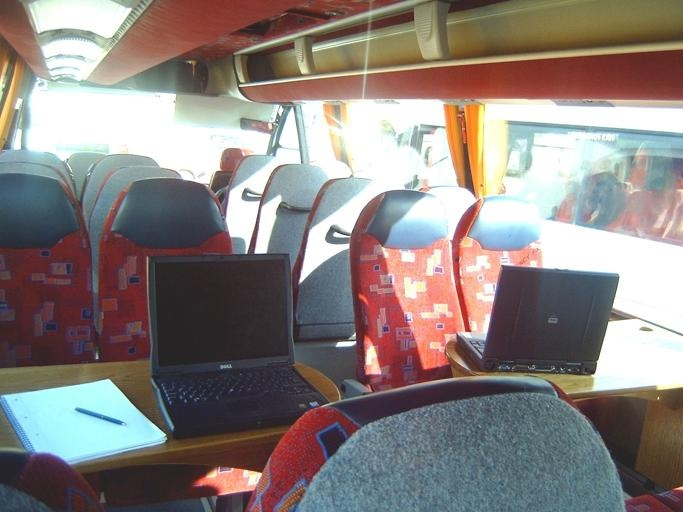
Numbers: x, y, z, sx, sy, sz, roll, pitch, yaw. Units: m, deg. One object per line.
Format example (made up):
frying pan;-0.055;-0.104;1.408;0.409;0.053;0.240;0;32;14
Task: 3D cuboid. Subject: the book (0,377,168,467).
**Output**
book;-0.639;0.406;1.267;0.246;0.031;0.261;3;19;-29

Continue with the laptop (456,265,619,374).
laptop;0.712;0.223;1.996;0.401;0.375;0.423;5;7;-6

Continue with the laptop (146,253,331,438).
laptop;-0.324;0.227;1.530;0.463;0.436;0.484;-2;9;-25
